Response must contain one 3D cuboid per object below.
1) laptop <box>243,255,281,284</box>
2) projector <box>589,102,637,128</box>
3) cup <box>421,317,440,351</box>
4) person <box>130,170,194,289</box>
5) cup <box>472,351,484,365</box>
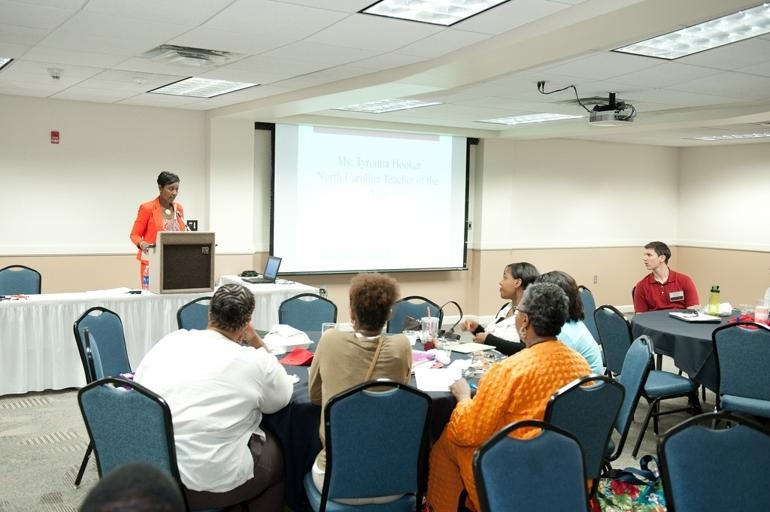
[{"bbox_3d":[-1.532,0.212,6.722,0.349,0.267,0.432,2,-1,-24],"label":"laptop"},{"bbox_3d":[2.583,-1.539,5.993,0.489,0.222,0.335,-1,0,8],"label":"projector"},{"bbox_3d":[0.334,0.575,3.954,0.189,0.284,0.201,0,-3,0],"label":"cup"},{"bbox_3d":[-2.455,-0.270,5.807,0.558,1.310,1.009,-4,6,-25],"label":"person"},{"bbox_3d":[0.649,0.715,3.724,0.062,0.070,0.063,0,-2,0],"label":"cup"}]
